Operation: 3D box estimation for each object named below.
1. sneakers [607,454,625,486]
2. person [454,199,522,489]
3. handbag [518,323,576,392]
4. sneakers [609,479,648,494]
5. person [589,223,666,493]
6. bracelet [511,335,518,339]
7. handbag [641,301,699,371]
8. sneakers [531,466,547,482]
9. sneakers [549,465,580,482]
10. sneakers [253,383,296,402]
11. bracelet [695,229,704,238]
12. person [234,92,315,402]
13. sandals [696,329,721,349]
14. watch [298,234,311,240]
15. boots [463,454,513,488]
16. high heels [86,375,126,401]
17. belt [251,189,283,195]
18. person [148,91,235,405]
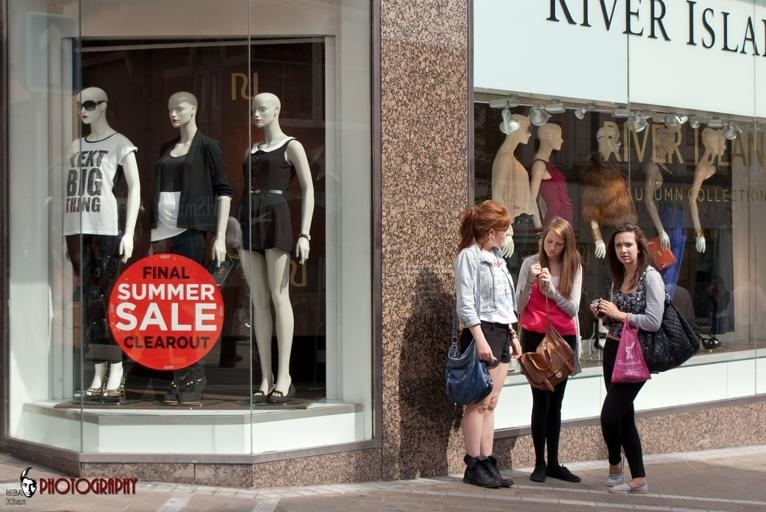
[{"bbox_3d":[2.199,2.013,7.444,0.084,0.307,0.108,19,-14,-27],"label":"sneakers"},{"bbox_3d":[0.953,0.812,7.346,0.637,2.539,0.721,3,13,9],"label":"person"},{"bbox_3d":[1.560,0.959,7.446,0.546,0.600,0.261,2,13,4],"label":"handbag"},{"bbox_3d":[2.277,2.115,7.332,0.332,0.107,0.132,3,-6,0],"label":"sneakers"},{"bbox_3d":[2.236,0.947,7.339,0.703,2.383,0.666,10,16,32],"label":"person"},{"bbox_3d":[1.236,0.758,7.513,0.055,0.026,0.064,3,-9,-13],"label":"bracelet"},{"bbox_3d":[2.597,0.727,7.183,0.527,0.636,0.255,3,13,8],"label":"handbag"},{"bbox_3d":[1.479,2.055,7.534,0.146,0.131,0.119,2,14,3],"label":"sneakers"},{"bbox_3d":[1.718,2.067,7.637,0.345,0.141,0.121,4,4,26],"label":"sneakers"},{"bbox_3d":[-1.018,1.275,7.441,0.330,0.119,0.147,12,-12,-42],"label":"sneakers"},{"bbox_3d":[3.721,-0.270,9.308,0.081,0.088,0.084,0,-4,-1],"label":"bracelet"},{"bbox_3d":[-1.047,-0.074,7.449,0.639,2.771,0.759,3,13,8],"label":"person"},{"bbox_3d":[3.836,0.985,9.303,0.214,0.166,0.263,1,4,0],"label":"sandals"},{"bbox_3d":[-0.758,-0.186,7.588,0.073,0.030,0.058,16,3,18],"label":"watch"},{"bbox_3d":[0.959,1.968,7.347,0.238,0.187,0.396,7,-8,-39],"label":"boots"},{"bbox_3d":[-2.612,1.229,7.414,0.347,0.143,0.189,2,-2,-22],"label":"high heels"},{"bbox_3d":[-1.104,-0.599,7.485,0.291,0.050,0.011,-3,14,-16],"label":"belt"},{"bbox_3d":[-1.804,-0.701,7.393,0.724,1.566,0.323,3,13,6],"label":"person"}]
